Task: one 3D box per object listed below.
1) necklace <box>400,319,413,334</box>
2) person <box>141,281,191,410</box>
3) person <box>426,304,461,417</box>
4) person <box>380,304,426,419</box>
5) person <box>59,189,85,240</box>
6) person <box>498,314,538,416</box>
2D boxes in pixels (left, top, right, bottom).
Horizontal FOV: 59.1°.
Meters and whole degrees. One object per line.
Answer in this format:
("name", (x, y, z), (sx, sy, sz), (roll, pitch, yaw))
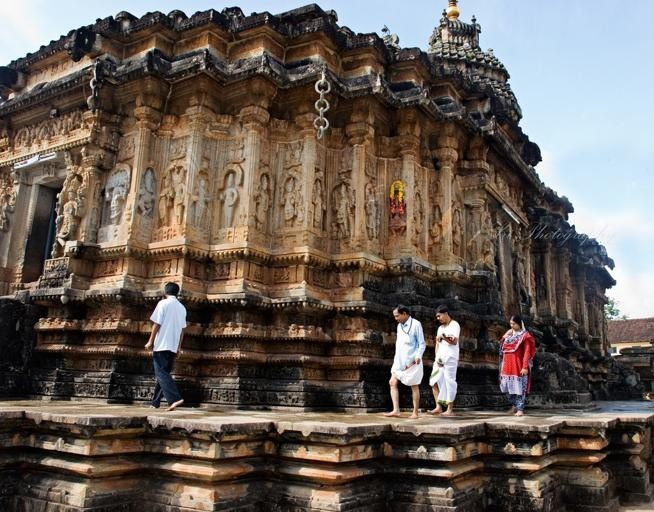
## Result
("necklace", (1.162, 1.031, 8.438), (0.088, 0.164, 0.171), (16, 5, -19))
("person", (-2.235, 1.220, 8.060), (0.551, 1.876, 0.634), (7, -25, -14))
("person", (1.819, 1.609, 9.015), (0.514, 1.767, 1.264), (-4, -25, 9))
("person", (1.164, 1.498, 8.380), (0.504, 1.794, 0.724), (4, -25, -9))
("person", (-5.066, -0.786, 11.389), (0.619, 0.980, 0.287), (-19, -31, 36))
("person", (3.056, 1.736, 9.125), (0.476, 1.576, 0.790), (3, -25, -6))
